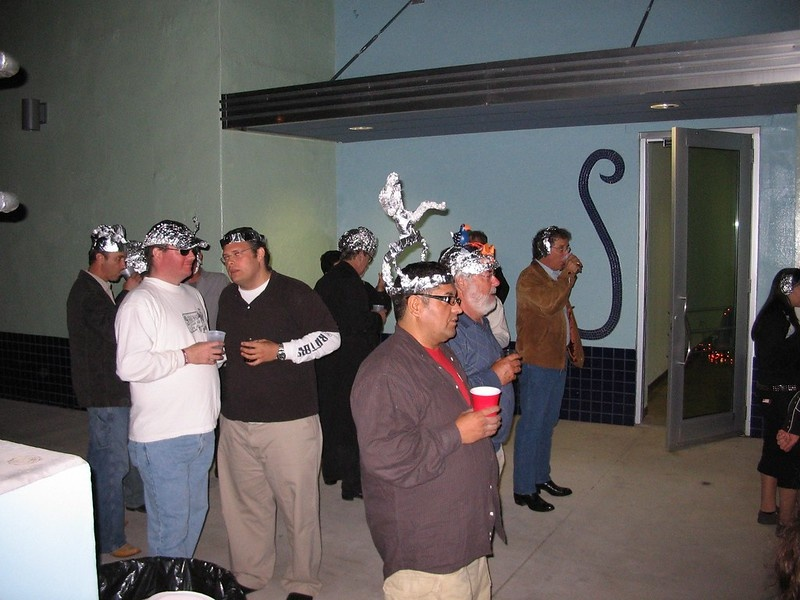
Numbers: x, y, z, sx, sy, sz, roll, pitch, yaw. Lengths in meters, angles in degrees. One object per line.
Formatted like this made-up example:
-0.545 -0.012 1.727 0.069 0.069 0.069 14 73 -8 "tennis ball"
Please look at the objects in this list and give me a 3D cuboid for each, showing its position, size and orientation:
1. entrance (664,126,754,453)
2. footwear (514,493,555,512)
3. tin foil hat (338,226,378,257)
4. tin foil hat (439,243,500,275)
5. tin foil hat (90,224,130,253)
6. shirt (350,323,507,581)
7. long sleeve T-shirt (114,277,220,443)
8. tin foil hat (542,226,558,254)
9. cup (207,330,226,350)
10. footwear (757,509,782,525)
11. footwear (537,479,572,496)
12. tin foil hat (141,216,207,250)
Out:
3.192 -0.122 6.852 1.329 3.199 0.522 -9 13 -35 "entrance"
1.126 1.721 5.629 0.272 0.115 0.138 0 4 26 "footwear"
-0.359 -0.495 5.888 0.309 0.272 0.233 -14 12 -21 "tin foil hat"
0.398 -0.235 4.064 0.247 0.137 0.209 3 5 -25 "tin foil hat"
-2.288 -0.476 5.239 0.267 0.203 0.208 -4 -11 19 "tin foil hat"
0.132 0.777 3.338 0.731 1.190 0.403 0 11 7 "shirt"
-1.438 0.354 4.140 0.597 0.958 0.433 -6 12 -25 "long sleeve T-shirt"
1.267 -0.516 5.698 0.078 0.203 0.155 7 0 1 "tin foil hat"
-1.152 0.253 4.143 0.105 0.108 0.107 2 2 0 "cup"
2.902 1.727 5.273 0.193 0.083 0.076 -10 27 -2 "footwear"
1.361 1.649 5.911 0.350 0.141 0.121 -3 7 28 "footwear"
-1.415 -0.405 4.206 0.357 0.158 0.236 -4 11 -22 "tin foil hat"
